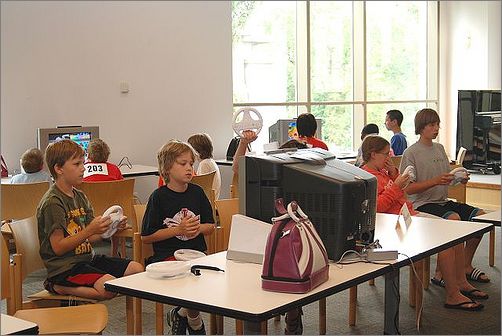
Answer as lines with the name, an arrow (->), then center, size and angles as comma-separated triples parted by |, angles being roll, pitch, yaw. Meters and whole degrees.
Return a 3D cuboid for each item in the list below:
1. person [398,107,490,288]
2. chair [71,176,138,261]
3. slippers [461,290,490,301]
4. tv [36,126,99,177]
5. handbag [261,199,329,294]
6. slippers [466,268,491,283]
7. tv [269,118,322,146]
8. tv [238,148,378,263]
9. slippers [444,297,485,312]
person -> 1.699, 0.226, 3.530 | 0.671, 1.496, 0.747 | -5, 6, -12
chair -> -1.134, 0.486, 3.551 | 0.637, 0.824, 0.636 | 2, -7, -21
slippers -> 1.872, 1.045, 3.352 | 0.215, 0.060, 0.080 | -2, 2, 15
tv -> -2.203, -0.233, 5.050 | 0.759, 0.535, 0.408 | -3, -14, -1
handbag -> 0.193, 0.303, 1.681 | 0.214, 0.367, 0.375 | -3, -4, 30
slippers -> 2.145, 1.000, 3.788 | 0.205, 0.082, 0.095 | -2, 0, 37
tv -> 0.690, -0.550, 6.303 | 0.656, 0.504, 0.666 | -8, 13, -10
tv -> 0.294, 0.092, 2.029 | 0.530, 0.468, 0.545 | 5, 7, 32
slippers -> 1.691, 1.054, 3.147 | 0.206, 0.056, 0.113 | -4, -3, 12
